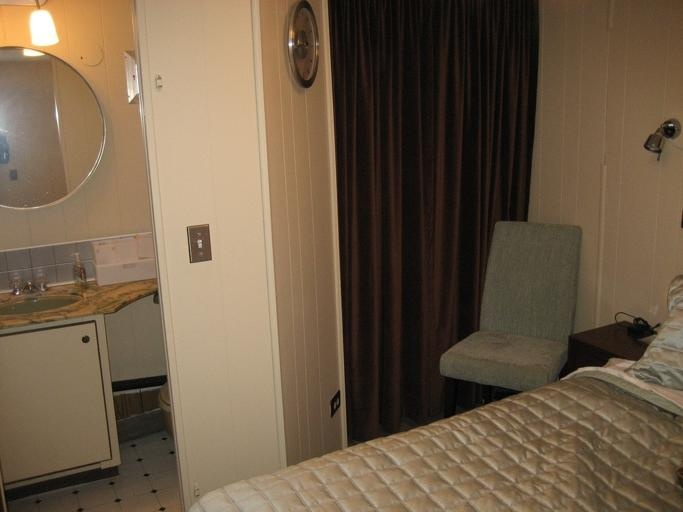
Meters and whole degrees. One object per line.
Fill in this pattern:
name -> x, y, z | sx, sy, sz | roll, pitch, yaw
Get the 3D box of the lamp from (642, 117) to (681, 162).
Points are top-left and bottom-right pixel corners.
lamp -> 1.645, -0.609, 2.858 | 0.162, 0.209, 0.180 | -10, 12, -37

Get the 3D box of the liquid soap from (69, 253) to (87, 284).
liquid soap -> -1.614, 0.071, 3.390 | 0.084, 0.189, 0.109 | -7, 11, -26
